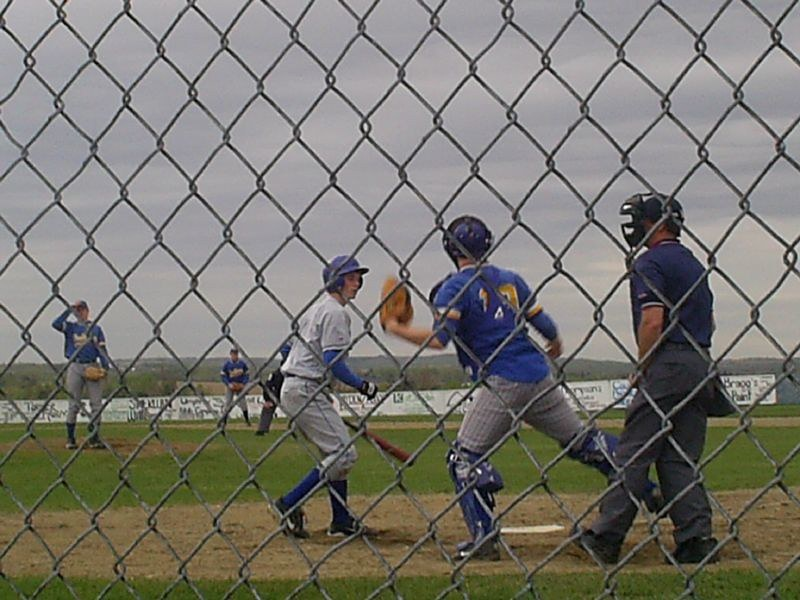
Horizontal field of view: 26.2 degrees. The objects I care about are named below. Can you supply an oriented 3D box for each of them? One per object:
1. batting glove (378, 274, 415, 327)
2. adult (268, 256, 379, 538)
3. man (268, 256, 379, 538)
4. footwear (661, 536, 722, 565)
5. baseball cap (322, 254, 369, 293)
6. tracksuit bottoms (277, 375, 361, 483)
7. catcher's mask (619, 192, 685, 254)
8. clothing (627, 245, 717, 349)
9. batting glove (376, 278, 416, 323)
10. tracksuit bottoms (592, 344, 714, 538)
[{"bbox_3d":[-0.043,0.027,13.624,0.257,0.451,0.298,-3,5,9],"label":"batting glove"},{"bbox_3d":[-0.656,0.897,15.583,0.902,2.532,0.827,0,0,-3],"label":"adult"},{"bbox_3d":[-0.706,0.894,15.564,0.874,2.538,0.791,0,0,28],"label":"man"},{"bbox_3d":[2.418,2.087,14.187,0.512,0.260,0.354,-8,-8,-11],"label":"footwear"},{"bbox_3d":[-0.417,-0.179,12.400,0.293,0.194,0.203,-20,-7,35],"label":"baseball cap"},{"bbox_3d":[-0.747,1.201,15.578,0.689,0.483,1.292,-10,-20,7],"label":"tracksuit bottoms"},{"bbox_3d":[1.943,-0.654,13.657,0.419,0.432,0.353,-5,7,8],"label":"catcher's mask"},{"bbox_3d":[2.096,-0.027,13.419,0.806,0.722,0.413,-4,1,-45],"label":"clothing"},{"bbox_3d":[-0.022,-0.064,13.552,0.264,0.304,0.445,-6,-28,-13],"label":"batting glove"},{"bbox_3d":[2.122,1.146,14.496,1.153,2.176,0.662,2,23,1],"label":"tracksuit bottoms"}]
